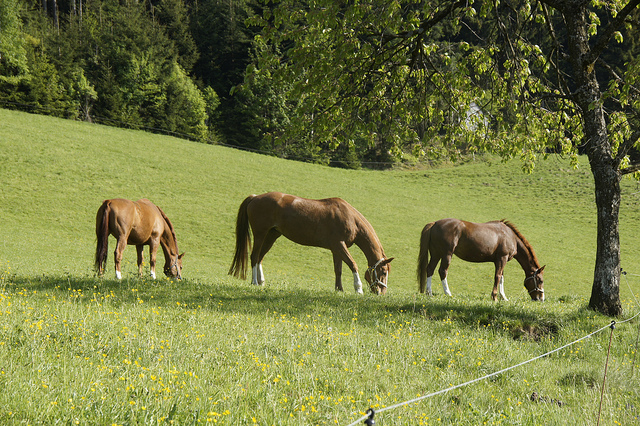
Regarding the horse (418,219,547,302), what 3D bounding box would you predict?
[{"bbox_3d":[12.171,3.489,72.090,9.555,6.668,2.505,7,4,4],"label":"horse"}]
